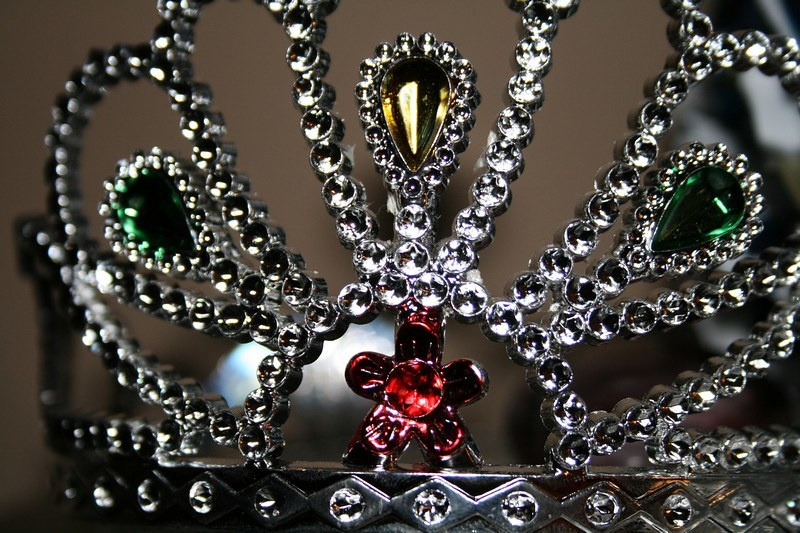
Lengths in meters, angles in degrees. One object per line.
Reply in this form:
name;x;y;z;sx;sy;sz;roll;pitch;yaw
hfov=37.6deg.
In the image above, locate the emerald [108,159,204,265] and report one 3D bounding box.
emerald;-0.363;-0.080;1.736;0.109;0.155;0.041;-28;-5;21
